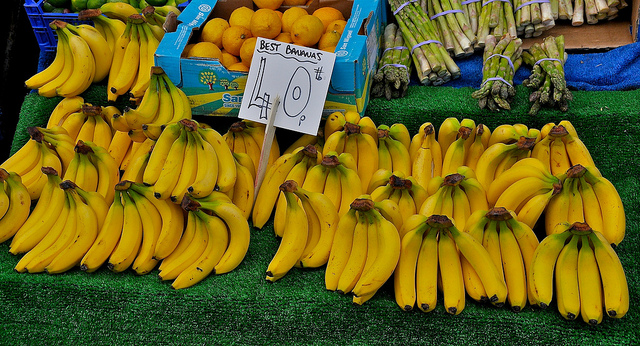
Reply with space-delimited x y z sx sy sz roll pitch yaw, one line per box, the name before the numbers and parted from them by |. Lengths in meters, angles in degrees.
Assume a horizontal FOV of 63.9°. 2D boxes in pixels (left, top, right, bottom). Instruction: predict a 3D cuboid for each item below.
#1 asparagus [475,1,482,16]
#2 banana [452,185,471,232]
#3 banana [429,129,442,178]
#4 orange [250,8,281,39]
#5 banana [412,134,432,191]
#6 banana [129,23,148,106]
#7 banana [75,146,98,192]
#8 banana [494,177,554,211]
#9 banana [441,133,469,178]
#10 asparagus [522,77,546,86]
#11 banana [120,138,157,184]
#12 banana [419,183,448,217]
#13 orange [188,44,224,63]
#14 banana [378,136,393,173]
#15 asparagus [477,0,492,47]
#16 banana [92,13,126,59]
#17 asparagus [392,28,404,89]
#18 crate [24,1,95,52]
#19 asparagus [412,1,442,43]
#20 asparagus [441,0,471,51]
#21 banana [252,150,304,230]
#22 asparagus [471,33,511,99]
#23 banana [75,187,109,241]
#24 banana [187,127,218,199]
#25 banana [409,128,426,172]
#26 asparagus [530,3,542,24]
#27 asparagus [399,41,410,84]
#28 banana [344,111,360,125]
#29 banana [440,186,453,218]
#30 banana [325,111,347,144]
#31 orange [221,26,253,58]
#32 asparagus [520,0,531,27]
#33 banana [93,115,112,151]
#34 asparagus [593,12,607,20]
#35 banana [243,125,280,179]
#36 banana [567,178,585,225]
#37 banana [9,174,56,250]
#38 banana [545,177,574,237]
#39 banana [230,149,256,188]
asparagus | 1.269 -1.311 4.089 0.038 0.145 0.029 21 -29 -22
banana | 0.880 0.213 3.184 0.088 0.310 0.112 -2 6 15
banana | 0.789 -0.124 3.441 0.086 0.308 0.115 2 9 44
orange | -0.386 -1.044 3.619 0.201 0.188 0.226 27 -7 -3
banana | 0.685 -0.061 3.467 0.107 0.385 0.136 9 -13 8
banana | -1.365 -0.795 3.850 0.222 0.596 0.113 1 6 -31
banana | -1.556 -0.023 3.356 0.127 0.301 0.090 1 21 11
banana | 1.310 0.106 3.109 0.341 0.097 0.110 -24 26 49
banana | 0.946 -0.118 3.401 0.103 0.373 0.137 21 -4 30
asparagus | 1.562 -0.662 3.752 0.178 0.045 0.061 -3 -18 -45
banana | -1.188 -0.076 3.359 0.082 0.302 0.098 32 -10 -2
banana | 0.695 0.156 3.122 0.177 0.181 0.086 -14 24 -27
orange | -0.794 -0.836 3.570 0.208 0.170 0.162 -5 1 0
banana | 0.433 -0.115 3.430 0.068 0.227 0.081 -7 5 -30
asparagus | 1.290 -1.133 3.971 0.080 0.429 0.070 20 -16 -14
banana | -1.572 -1.074 3.841 0.163 0.413 0.115 -15 -28 3
asparagus | 0.565 -0.855 3.834 0.081 0.537 0.096 -12 -35 23
crate | -2.038 -1.151 4.148 0.466 0.272 0.451 2 43 -4
asparagus | 0.836 -1.161 3.993 0.060 0.431 0.061 -40 2 -28
asparagus | 1.062 -1.135 3.992 0.085 0.513 0.114 -6 -20 -46
banana | -0.298 -0.034 3.456 0.124 0.150 0.482 -24 51 -11
asparagus | 1.314 -0.778 3.828 0.179 0.110 0.690 1 53 42
banana | -1.424 0.264 3.280 0.111 0.302 0.173 -20 -4 -23
banana | -0.729 -0.063 3.135 0.172 0.412 0.196 -4 21 -4
banana | 0.661 -0.160 3.481 0.073 0.258 0.090 16 -15 -25
asparagus | 1.661 -1.222 3.936 0.055 0.182 0.061 0 -30 7
asparagus | 0.631 -0.806 3.806 0.066 0.057 0.335 -16 46 25
banana | 0.221 -0.381 3.534 0.087 0.082 0.082 -2 3 -36
banana | 0.778 0.183 3.172 0.058 0.206 0.072 7 -4 12
banana | 0.098 -0.321 3.598 0.101 0.217 0.358 35 11 -11
orange | -0.584 -0.921 3.628 0.217 0.181 0.179 -7 32 40
asparagus | 1.601 -1.213 3.963 0.078 0.152 0.070 5 22 19
banana | -1.545 -0.278 3.670 0.081 0.282 0.102 -15 -4 4
asparagus | 2.205 -1.220 4.001 0.062 0.014 0.058 3 -26 -1
banana | -0.407 -0.153 3.595 0.211 0.333 0.114 2 16 28
banana | 1.559 0.184 3.163 0.085 0.310 0.113 -2 -3 10
banana | -1.894 0.271 3.348 0.164 0.465 0.085 16 -9 24
banana | 1.458 0.211 3.194 0.109 0.391 0.139 12 8 -12
banana | -0.491 -0.068 3.447 0.085 0.322 0.120 -34 12 -12
